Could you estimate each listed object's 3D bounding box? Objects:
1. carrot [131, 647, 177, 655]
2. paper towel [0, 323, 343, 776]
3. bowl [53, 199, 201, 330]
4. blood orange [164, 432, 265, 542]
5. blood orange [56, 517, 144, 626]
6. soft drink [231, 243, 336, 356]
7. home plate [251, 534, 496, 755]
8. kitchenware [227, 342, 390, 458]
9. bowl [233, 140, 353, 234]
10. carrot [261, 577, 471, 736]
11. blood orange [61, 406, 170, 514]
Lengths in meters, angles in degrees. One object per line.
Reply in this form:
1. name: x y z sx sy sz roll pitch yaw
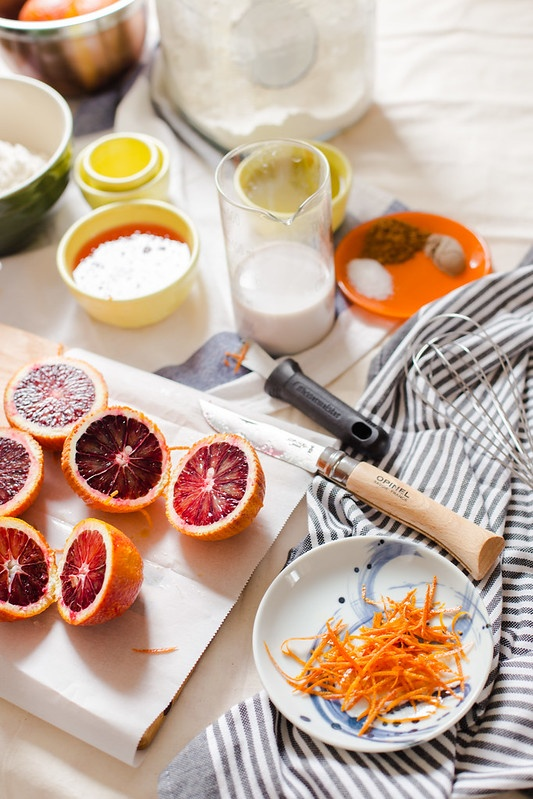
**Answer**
1. carrot: -0.096 0.218 0.611 0.029 0.004 0.004 2 14 7
2. paper towel: -0.079 0.166 0.710 0.349 0.082 0.317 14 56 15
3. bowl: -0.171 -0.152 0.945 0.171 0.076 0.169 0 62 1
4. blood orange: -0.036 0.101 0.682 0.087 0.053 0.085 -49 36 -6
5. blood orange: -0.147 0.148 0.604 0.061 0.088 0.087 7 21 -28
6. soft drink: 0.029 -0.109 0.854 0.123 0.074 0.116 -3 78 1
7. home plate: 0.092 0.227 0.630 0.166 0.037 0.162 -5 49 7
8. kitchenware: 0.031 -0.015 0.828 0.065 0.060 0.265 -19 45 -42
9. bowl: 0.052 -0.255 0.988 0.147 0.090 0.142 -1 77 6
10. carrot: 0.073 0.192 0.541 0.116 0.020 0.100 -19 37 -4
11. blood orange: -0.163 0.072 0.766 0.112 0.067 0.107 18 53 -20
